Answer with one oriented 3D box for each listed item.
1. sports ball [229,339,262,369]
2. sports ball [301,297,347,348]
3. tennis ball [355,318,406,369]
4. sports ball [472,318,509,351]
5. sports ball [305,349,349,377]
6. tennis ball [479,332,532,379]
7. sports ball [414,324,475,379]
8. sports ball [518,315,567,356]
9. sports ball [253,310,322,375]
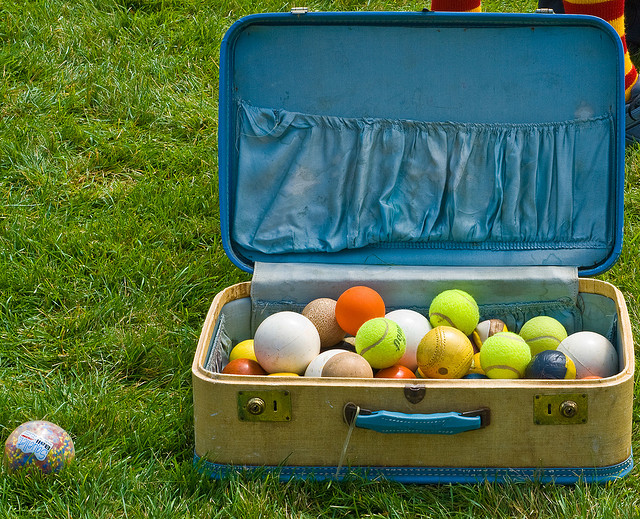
[{"bbox_3d":[-0.329,0.394,3.533,0.089,0.102,0.131,7,66,3],"label":"sports ball"},{"bbox_3d":[0.001,0.284,3.671,0.166,0.245,0.172,-3,9,0],"label":"sports ball"},{"bbox_3d":[0.255,0.348,3.448,0.170,0.195,0.198,-21,61,-8],"label":"tennis ball"},{"bbox_3d":[0.736,0.301,3.582,0.107,0.154,0.096,5,14,44],"label":"sports ball"},{"bbox_3d":[0.005,0.422,3.347,0.100,0.098,0.125,-1,2,5],"label":"sports ball"},{"bbox_3d":[0.757,0.389,3.348,0.174,0.151,0.182,-5,25,3],"label":"tennis ball"},{"bbox_3d":[0.488,0.343,3.299,0.177,0.235,0.195,1,1,21],"label":"sports ball"},{"bbox_3d":[0.943,0.316,3.467,0.141,0.180,0.164,11,26,2],"label":"sports ball"},{"bbox_3d":[-0.118,0.360,3.454,0.209,0.247,0.309,-4,63,16],"label":"sports ball"}]
